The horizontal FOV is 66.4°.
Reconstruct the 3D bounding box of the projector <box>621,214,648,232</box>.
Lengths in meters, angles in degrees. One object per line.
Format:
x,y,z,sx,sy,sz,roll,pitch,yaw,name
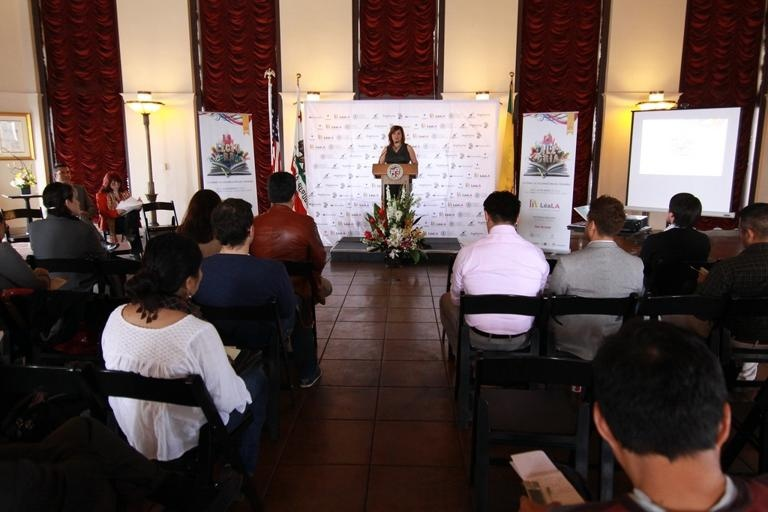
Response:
3.653,-0.479,8.546,0.408,0.135,0.409,5,20,31,projector

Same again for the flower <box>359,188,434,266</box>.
0.176,-0.379,7.858,0.635,1.010,0.827,-14,19,-41,flower

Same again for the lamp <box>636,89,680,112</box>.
4.664,-2.695,10.026,0.693,0.313,0.504,-12,18,-37,lamp

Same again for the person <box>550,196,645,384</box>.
1.538,0.144,4.457,0.617,1.476,0.787,-6,39,0,person
